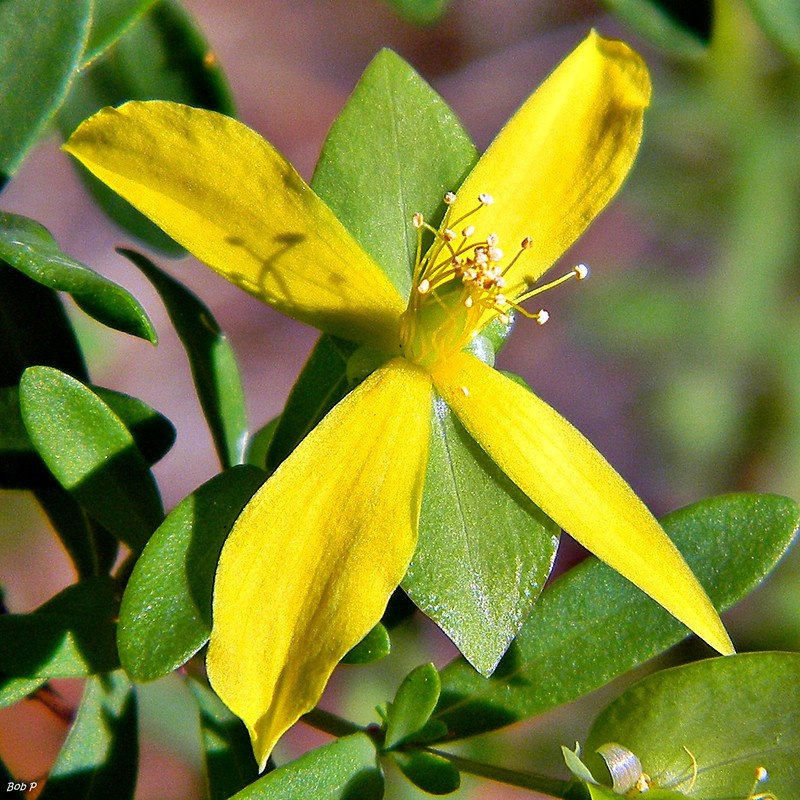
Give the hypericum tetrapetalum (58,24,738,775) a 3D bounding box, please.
[{"bbox_3d":[-0.044,0.052,0.866,0.129,0.485,0.536,-24,33,55],"label":"hypericum tetrapetalum"}]
